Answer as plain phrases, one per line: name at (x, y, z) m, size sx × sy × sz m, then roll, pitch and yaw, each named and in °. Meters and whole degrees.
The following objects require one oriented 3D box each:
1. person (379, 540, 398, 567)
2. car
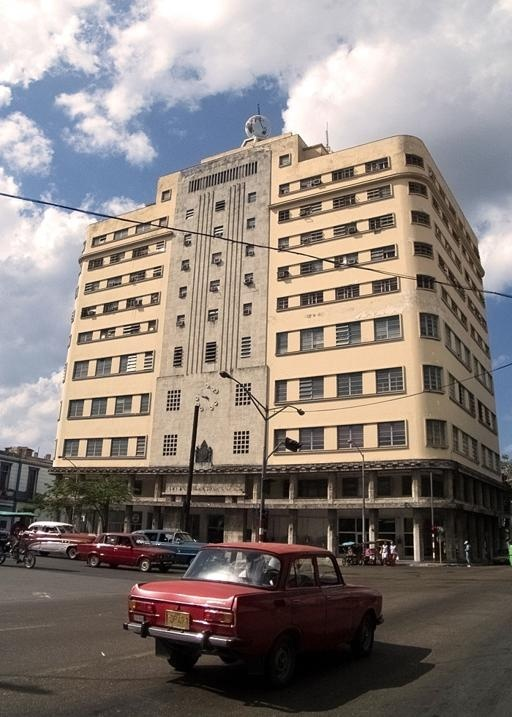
person at (8.830, 12.785, 35.761) m, size 0.876 × 1.357 × 2.639 m, roll 0°, pitch -10°, yaw 10°
car at (0.225, 2.744, 6.643) m, size 1.632 × 1.127 × 3.054 m, roll -12°, pitch -22°, yaw 36°
